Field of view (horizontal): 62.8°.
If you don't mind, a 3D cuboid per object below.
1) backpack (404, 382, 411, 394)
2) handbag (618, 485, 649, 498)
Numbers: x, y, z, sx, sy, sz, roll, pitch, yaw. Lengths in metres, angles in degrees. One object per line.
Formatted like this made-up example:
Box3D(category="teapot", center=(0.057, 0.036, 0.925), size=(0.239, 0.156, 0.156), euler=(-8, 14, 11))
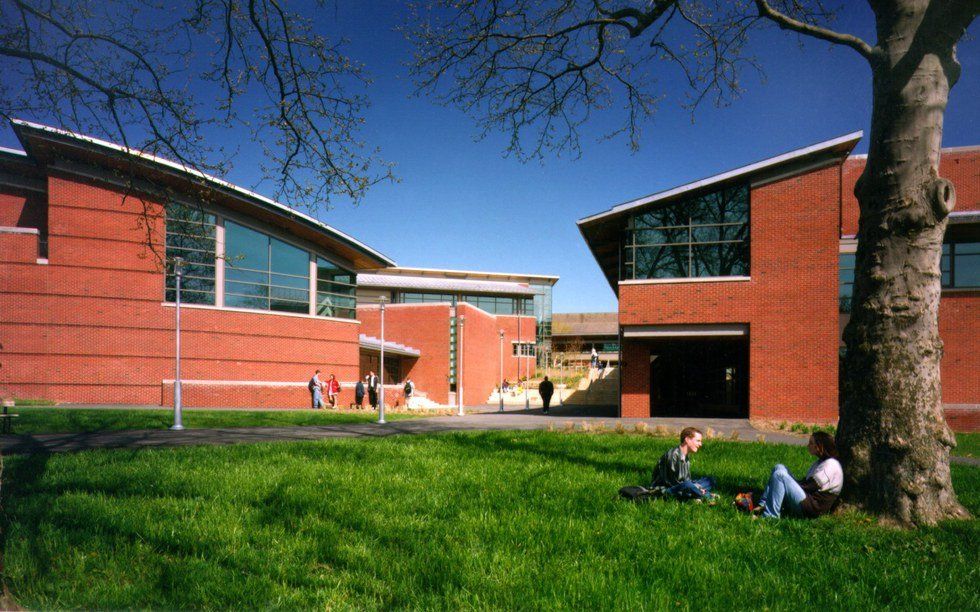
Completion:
Box3D(category="backpack", center=(-5.342, 5.260, 51.872), size=(0.598, 0.706, 0.416), euler=(6, 13, 21))
Box3D(category="handbag", center=(3.250, 4.175, 17.985), size=(0.666, 0.202, 0.439), euler=(1, 11, -1))
